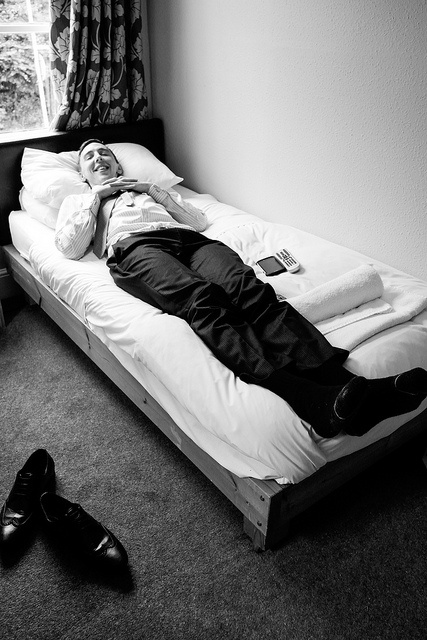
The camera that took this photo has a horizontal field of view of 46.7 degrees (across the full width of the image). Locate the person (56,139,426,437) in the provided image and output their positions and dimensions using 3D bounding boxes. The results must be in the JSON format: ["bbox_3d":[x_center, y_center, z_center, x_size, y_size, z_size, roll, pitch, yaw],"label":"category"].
[{"bbox_3d":[-0.090,-0.175,1.831,0.658,0.452,1.789,-20,44,-39],"label":"person"}]

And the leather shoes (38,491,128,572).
[{"bbox_3d":[-0.361,0.582,1.420,0.325,0.122,0.112,26,42,29],"label":"leather shoes"}]

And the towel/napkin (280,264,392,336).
[{"bbox_3d":[0.456,-0.061,1.747,0.300,0.113,0.223,-23,52,-14],"label":"towel/napkin"}]

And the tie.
[{"bbox_3d":[-0.508,-0.450,2.356,0.073,0.201,0.312,9,57,25],"label":"tie"}]

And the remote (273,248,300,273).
[{"bbox_3d":[0.312,-0.249,2.037,0.058,0.029,0.124,-19,44,-8],"label":"remote"}]
